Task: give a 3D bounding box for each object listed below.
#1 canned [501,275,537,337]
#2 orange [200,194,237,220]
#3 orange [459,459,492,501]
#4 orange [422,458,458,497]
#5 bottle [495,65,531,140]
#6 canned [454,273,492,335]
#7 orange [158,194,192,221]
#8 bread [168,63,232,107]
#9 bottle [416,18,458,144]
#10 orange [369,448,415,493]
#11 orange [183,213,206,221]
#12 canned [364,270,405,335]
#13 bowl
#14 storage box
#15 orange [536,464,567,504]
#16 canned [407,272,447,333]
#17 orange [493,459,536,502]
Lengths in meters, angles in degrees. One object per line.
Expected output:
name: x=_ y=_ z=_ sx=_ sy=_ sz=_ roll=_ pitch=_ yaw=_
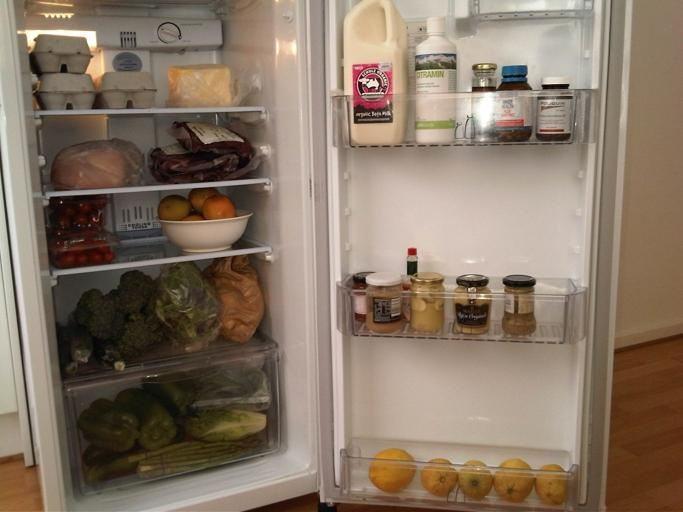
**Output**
canned: x=0.490 y=0.141 z=1.617 sx=0.098 sy=0.142 sz=0.096 roll=1 pitch=6 yaw=19
orange: x=-0.406 y=-0.153 z=1.994 sx=0.075 sy=0.075 sz=0.101 roll=-8 pitch=-24 yaw=32
orange: x=0.406 y=0.661 z=1.701 sx=0.063 sy=0.059 sz=0.061 roll=-8 pitch=-10 yaw=-10
orange: x=0.280 y=0.638 z=1.682 sx=0.108 sy=0.099 sz=0.102 roll=0 pitch=-5 yaw=7
bottle: x=0.454 y=-0.399 z=1.537 sx=0.095 sy=0.196 sz=0.077 roll=0 pitch=12 yaw=17
canned: x=0.367 y=0.136 z=1.640 sx=0.104 sy=0.152 sz=0.102 roll=-4 pitch=13 yaw=-7
orange: x=-0.556 y=-0.156 z=1.949 sx=0.115 sy=0.086 sz=0.090 roll=-7 pitch=40 yaw=-33
bread: x=-0.449 y=-0.547 z=1.853 sx=0.203 sy=0.139 sz=0.127 roll=-2 pitch=3 yaw=-2
bottle: x=0.258 y=-0.472 z=1.593 sx=0.115 sy=0.330 sz=0.125 roll=-4 pitch=11 yaw=1
orange: x=0.151 y=0.627 z=1.753 sx=0.130 sy=0.096 sz=0.098 roll=-13 pitch=5 yaw=-12
orange: x=-0.489 y=-0.132 z=1.947 sx=0.046 sy=0.024 sz=0.031 roll=-2 pitch=13 yaw=3
canned: x=0.122 y=0.133 z=1.670 sx=0.125 sy=0.148 sz=0.124 roll=5 pitch=11 yaw=27
bowl: x=-0.483 y=-0.077 z=2.047 sx=0.335 sy=0.108 sz=0.320 roll=-7 pitch=2 yaw=0
storage box: x=-0.542 y=0.589 z=2.077 sx=0.698 sy=0.388 sz=0.389 roll=-11 pitch=-19 yaw=-2
orange: x=0.587 y=0.650 z=1.696 sx=0.096 sy=0.109 sz=0.092 roll=-1 pitch=4 yaw=8
canned: x=0.243 y=0.135 z=1.665 sx=0.131 sy=0.149 sz=0.126 roll=0 pitch=5 yaw=7
orange: x=0.489 y=0.642 z=1.659 sx=0.113 sy=0.125 sz=0.106 roll=5 pitch=-36 yaw=1
